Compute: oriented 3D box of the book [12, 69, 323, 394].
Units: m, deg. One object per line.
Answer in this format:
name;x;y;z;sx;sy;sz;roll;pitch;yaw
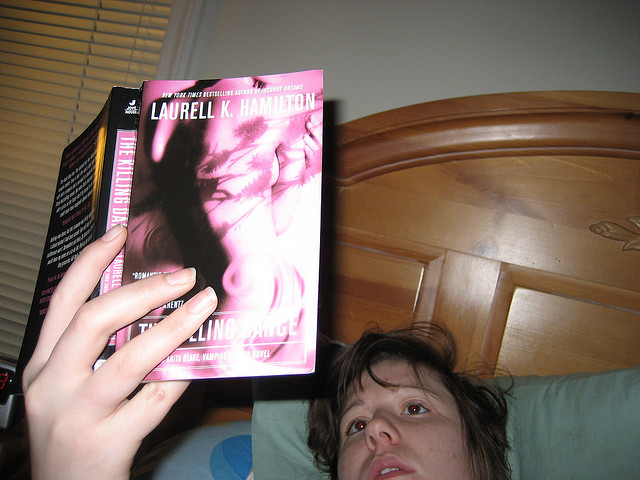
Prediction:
book;-0.278;-0.020;1.342;0.911;0.833;0.199;-16;-28;20
